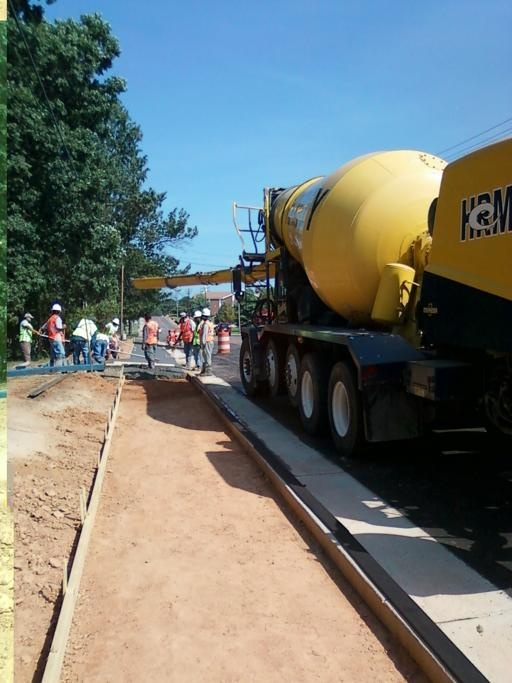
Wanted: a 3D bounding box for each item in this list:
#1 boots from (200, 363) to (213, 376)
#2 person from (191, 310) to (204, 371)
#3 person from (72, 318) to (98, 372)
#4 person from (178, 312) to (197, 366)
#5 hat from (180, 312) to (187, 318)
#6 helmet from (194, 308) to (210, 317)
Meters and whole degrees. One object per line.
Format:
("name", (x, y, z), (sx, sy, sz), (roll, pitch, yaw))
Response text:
("boots", (-1.289, 0.724, 13.665), (0.346, 0.375, 0.175), (6, 5, 27))
("person", (-1.698, -0.069, 14.553), (0.458, 1.669, 0.500), (-3, 5, -32))
("person", (-3.997, -0.093, 12.657), (0.414, 1.238, 0.453), (17, 24, 30))
("person", (-1.988, -0.042, 14.914), (0.639, 1.540, 0.406), (-2, -2, 43))
("hat", (-2.109, -0.762, 14.944), (0.060, 0.182, 0.172), (-18, -31, 21))
("helmet", (-1.374, -0.681, 13.593), (0.317, 0.242, 0.461), (-2, 18, -31))
